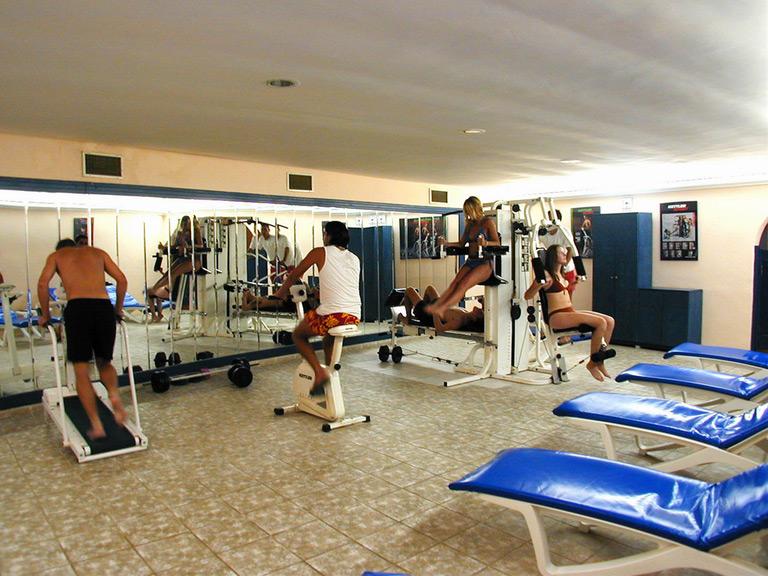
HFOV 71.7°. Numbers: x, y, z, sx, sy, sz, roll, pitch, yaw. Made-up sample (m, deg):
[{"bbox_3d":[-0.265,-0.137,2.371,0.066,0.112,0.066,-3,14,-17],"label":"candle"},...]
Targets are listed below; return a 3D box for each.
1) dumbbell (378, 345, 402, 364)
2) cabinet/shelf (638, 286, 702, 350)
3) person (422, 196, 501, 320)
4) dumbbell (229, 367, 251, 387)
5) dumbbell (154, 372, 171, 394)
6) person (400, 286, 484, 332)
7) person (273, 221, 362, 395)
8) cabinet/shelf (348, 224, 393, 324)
[{"bbox_3d":[0.116,0.980,7.997,0.433,0.238,0.251,2,7,29],"label":"dumbbell"},{"bbox_3d":[4.548,0.501,8.424,0.975,0.995,0.518,-1,7,17],"label":"cabinet/shelf"},{"bbox_3d":[1.076,-0.328,6.816,0.877,1.645,0.402,2,8,36],"label":"person"},{"bbox_3d":[-1.819,1.070,6.710,0.250,0.220,0.351,-2,2,-25],"label":"dumbbell"},{"bbox_3d":[-2.691,1.146,6.387,0.231,0.207,0.213,10,17,33],"label":"dumbbell"},{"bbox_3d":[0.755,0.325,7.259,1.044,0.590,0.909,7,7,41],"label":"person"},{"bbox_3d":[-0.571,0.222,5.601,0.719,1.779,0.815,-2,11,-44],"label":"person"},{"bbox_3d":[-0.175,-0.333,9.770,0.251,1.621,0.903,8,8,27],"label":"cabinet/shelf"}]
